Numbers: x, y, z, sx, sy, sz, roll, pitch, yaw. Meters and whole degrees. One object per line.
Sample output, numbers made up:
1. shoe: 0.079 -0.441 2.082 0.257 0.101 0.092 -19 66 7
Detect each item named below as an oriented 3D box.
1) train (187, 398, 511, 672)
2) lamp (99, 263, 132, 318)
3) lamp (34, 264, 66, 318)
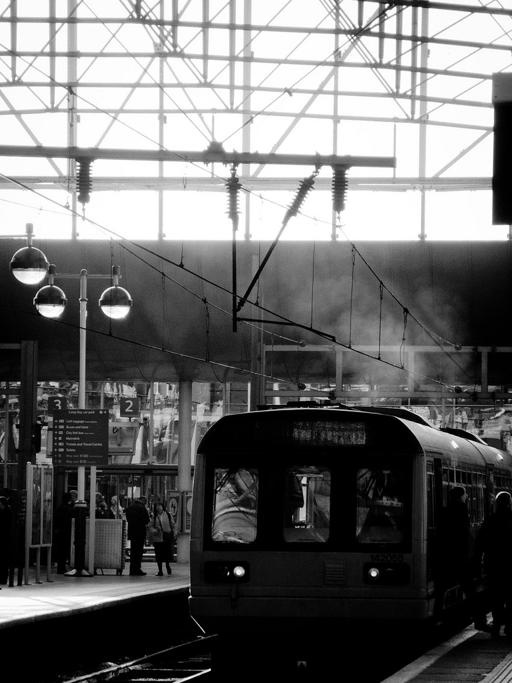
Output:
1. train: 0.804 1.684 11.571 1.081 2.041 6.084 -2 -7 13
2. lamp: -2.424 -0.825 20.702 0.504 1.000 0.623 -3 -11 6
3. lamp: -3.406 -0.808 19.959 0.451 0.985 0.529 -9 -18 23
